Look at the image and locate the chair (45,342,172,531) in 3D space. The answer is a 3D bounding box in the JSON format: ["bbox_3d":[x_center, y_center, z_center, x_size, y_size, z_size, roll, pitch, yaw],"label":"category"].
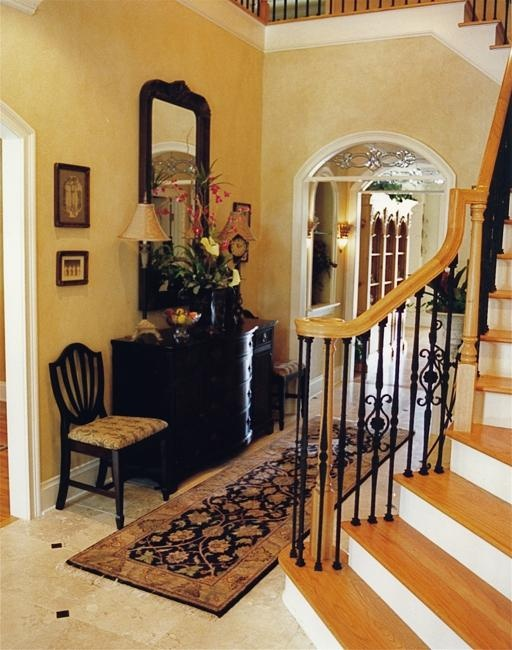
[{"bbox_3d":[-0.885,0.623,3.614,0.619,0.958,0.645,6,6,34],"label":"chair"}]

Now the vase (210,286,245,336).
[{"bbox_3d":[-0.232,-0.142,4.737,0.245,0.339,0.240,13,17,39],"label":"vase"}]

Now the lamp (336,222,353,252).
[{"bbox_3d":[1.102,-1.125,7.409,0.112,0.360,0.282,8,9,41],"label":"lamp"}]

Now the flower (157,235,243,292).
[{"bbox_3d":[-0.453,-0.457,4.497,0.420,0.288,0.568,14,18,21],"label":"flower"}]

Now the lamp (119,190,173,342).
[{"bbox_3d":[-0.776,-0.381,4.091,0.332,0.928,0.326,8,24,7],"label":"lamp"}]

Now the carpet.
[{"bbox_3d":[-0.263,0.840,3.235,0.657,0.015,2.191,6,12,21],"label":"carpet"}]

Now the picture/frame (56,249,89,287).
[{"bbox_3d":[-1.115,-0.350,3.537,0.025,0.179,0.230,8,11,28],"label":"picture/frame"}]

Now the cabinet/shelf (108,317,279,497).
[{"bbox_3d":[-0.381,0.465,4.523,0.593,1.032,1.522,5,5,29],"label":"cabinet/shelf"}]
